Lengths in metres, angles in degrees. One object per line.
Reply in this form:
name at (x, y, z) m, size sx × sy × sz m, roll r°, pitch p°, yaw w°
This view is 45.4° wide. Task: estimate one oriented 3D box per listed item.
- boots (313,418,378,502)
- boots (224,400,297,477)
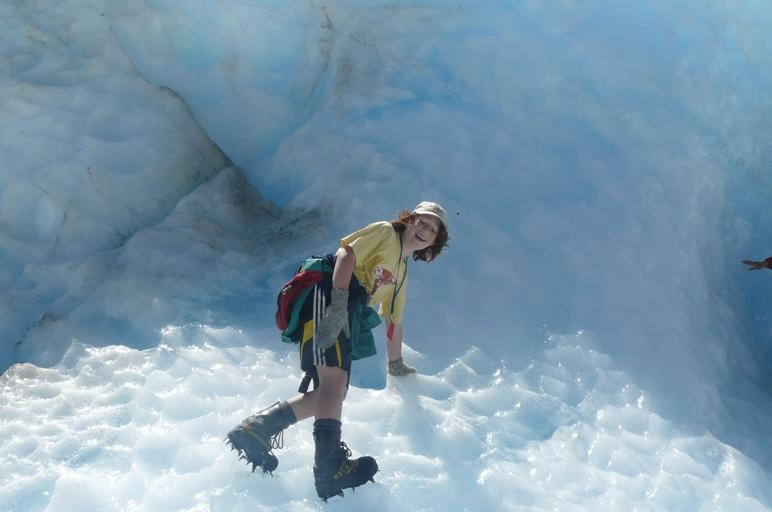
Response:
boots at (-0.378, 1.660, 7.746) m, size 0.301 × 0.621 × 0.672 m, roll 0°, pitch 6°, yaw 45°
boots at (-1.045, 1.513, 7.664) m, size 0.495 × 0.613 × 0.275 m, roll 58°, pitch -15°, yaw 0°
